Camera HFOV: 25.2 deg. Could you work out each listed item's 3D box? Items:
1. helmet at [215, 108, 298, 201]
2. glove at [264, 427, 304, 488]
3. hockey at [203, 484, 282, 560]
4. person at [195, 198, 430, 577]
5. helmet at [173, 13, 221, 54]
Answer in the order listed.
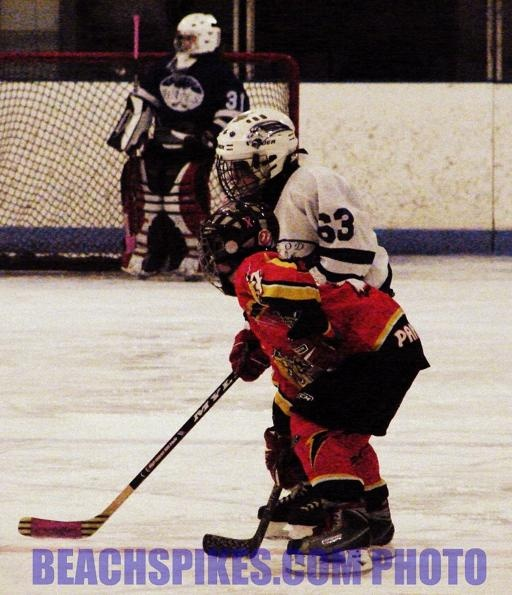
[{"bbox_3d":[0.008,-0.392,3.067,0.260,0.158,0.177,-11,13,1],"label":"helmet"},{"bbox_3d":[0.044,0.385,2.769,0.056,0.137,0.118,-44,46,-17],"label":"glove"},{"bbox_3d":[-0.036,0.501,2.564,0.165,0.045,0.158,3,40,19],"label":"hockey"},{"bbox_3d":[0.093,0.174,2.647,0.504,0.791,0.372,6,9,27],"label":"person"},{"bbox_3d":[-0.302,-1.379,5.983,0.213,0.240,0.187,0,8,-21],"label":"helmet"}]
